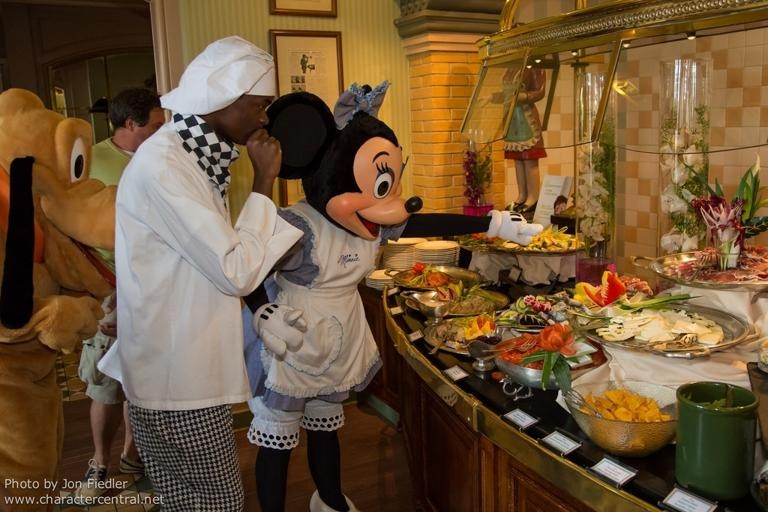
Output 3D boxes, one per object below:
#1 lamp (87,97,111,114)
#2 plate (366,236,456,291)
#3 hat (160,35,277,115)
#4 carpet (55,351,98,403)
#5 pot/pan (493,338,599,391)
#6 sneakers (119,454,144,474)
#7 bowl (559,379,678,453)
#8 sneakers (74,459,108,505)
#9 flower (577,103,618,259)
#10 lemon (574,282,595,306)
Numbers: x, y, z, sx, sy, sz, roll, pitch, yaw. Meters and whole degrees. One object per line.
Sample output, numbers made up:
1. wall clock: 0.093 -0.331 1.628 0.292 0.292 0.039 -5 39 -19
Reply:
1. lamp: -3.988 -2.084 7.673 0.247 0.147 0.243 -5 16 -23
2. plate: 0.212 0.020 3.753 0.440 0.167 0.431 1 10 9
3. hat: -0.626 -0.673 2.077 0.391 0.199 0.282 -13 37 -16
4. carpet: -2.225 0.897 3.948 0.259 0.016 0.787 -7 11 -30
5. pot/pan: 0.538 0.356 1.955 0.215 0.065 0.221 -3 0 -36
6. sneakers: -1.613 1.343 3.545 0.213 0.097 0.078 3 6 -32
7. bowl: 0.754 0.558 1.735 0.306 0.111 0.310 -4 -2 0
8. sneakers: -1.774 1.393 3.340 0.115 0.132 0.333 23 20 -29
9. flower: 0.985 -0.319 2.523 0.180 0.661 0.086 3 11 16
10. lemon: 0.885 0.165 2.403 0.084 0.081 0.114 4 11 19
